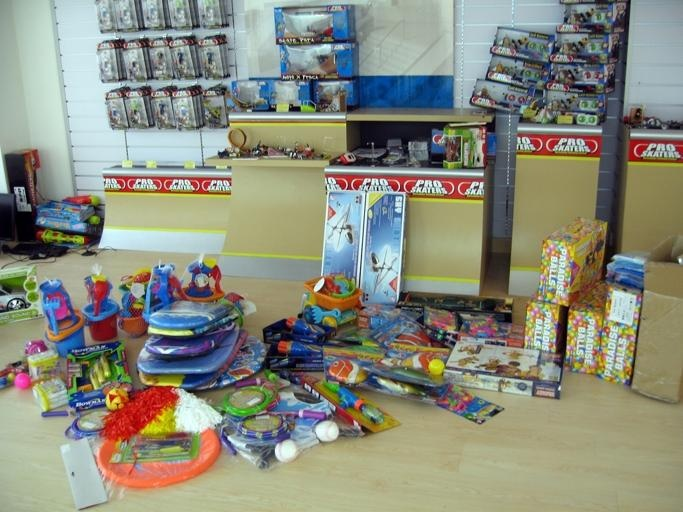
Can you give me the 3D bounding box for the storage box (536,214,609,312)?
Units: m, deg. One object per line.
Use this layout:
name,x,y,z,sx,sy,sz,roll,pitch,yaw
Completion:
storage box,1.576,0.051,3.473,0.207,0.386,0.635,19,-12,32

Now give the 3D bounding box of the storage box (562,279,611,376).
storage box,1.563,0.473,3.272,0.214,0.587,0.525,12,18,31

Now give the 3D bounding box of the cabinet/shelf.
cabinet/shelf,0.155,-0.464,4.675,1.791,1.095,0.610,3,12,14
